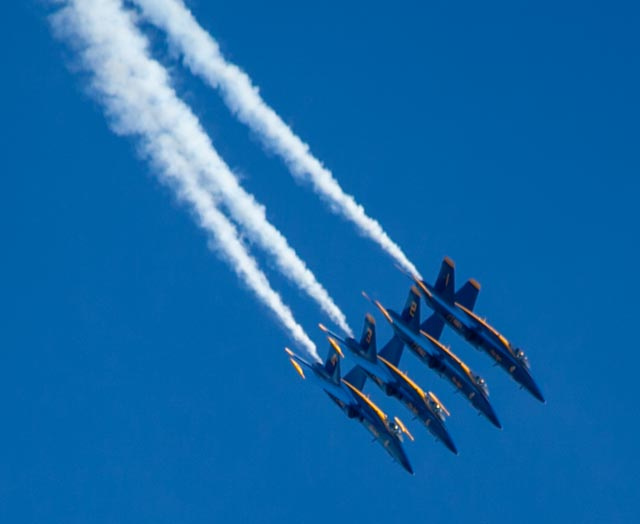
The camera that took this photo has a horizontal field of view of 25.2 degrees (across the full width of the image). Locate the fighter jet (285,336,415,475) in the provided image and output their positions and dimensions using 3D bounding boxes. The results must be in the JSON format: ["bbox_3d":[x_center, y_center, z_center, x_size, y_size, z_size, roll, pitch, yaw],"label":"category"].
[{"bbox_3d":[2.574,7.877,79.363,2.853,7.753,6.597,-48,-12,5],"label":"fighter jet"}]

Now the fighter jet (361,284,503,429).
[{"bbox_3d":[6.471,5.033,78.983,2.935,9.097,7.619,-43,-13,12],"label":"fighter jet"}]

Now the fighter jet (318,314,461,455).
[{"bbox_3d":[4.302,6.142,78.985,6.817,7.930,2.837,-25,-34,-52],"label":"fighter jet"}]
